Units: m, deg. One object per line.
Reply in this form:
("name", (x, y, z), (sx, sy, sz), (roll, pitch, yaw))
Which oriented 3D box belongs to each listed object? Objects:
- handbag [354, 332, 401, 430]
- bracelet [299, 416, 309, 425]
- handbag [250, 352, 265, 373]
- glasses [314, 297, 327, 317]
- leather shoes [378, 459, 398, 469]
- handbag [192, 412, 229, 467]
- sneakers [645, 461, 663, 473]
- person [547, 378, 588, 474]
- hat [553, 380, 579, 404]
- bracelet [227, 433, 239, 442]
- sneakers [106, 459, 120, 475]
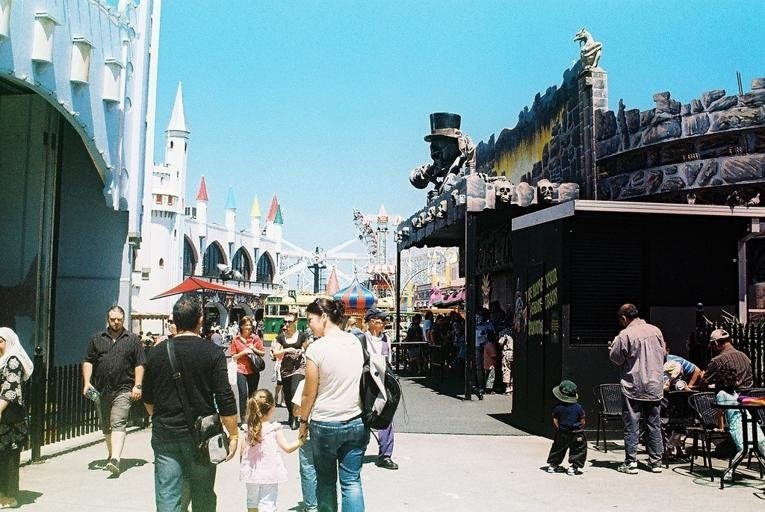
("handbag", (-0.046, 1.621, 11.320), (0.926, 1.701, 1.401), (0, -3, -3))
("bracelet", (-1.024, 2.159, 10.378), (0.163, 0.115, 0.220), (3, -5, -5))
("handbag", (-2.397, 2.104, 15.512), (0.293, 0.381, 0.386), (-2, -8, 35))
("glasses", (-0.808, 0.683, 10.601), (0.119, 0.208, 0.159), (-13, 5, 10))
("leather shoes", (0.105, 3.499, 13.306), (0.297, 0.120, 0.145), (-6, -8, 36))
("handbag", (-2.186, 2.349, 10.122), (0.464, 0.647, 0.192), (6, -8, -21))
("sneakers", (4.556, 3.530, 13.230), (0.114, 0.144, 0.313), (1, -1, 1))
("person", (3.072, 2.865, 13.269), (0.637, 1.525, 0.463), (1, -7, 12))
("hat", (3.045, 2.327, 13.302), (0.433, 0.446, 0.229), (5, -45, 22))
("bracelet", (-1.936, 2.352, 10.270), (0.180, 0.082, 0.209), (1, -1, 4))
("sneakers", (-4.318, 3.435, 12.733), (0.144, 0.165, 0.364), (-7, -38, -6))
